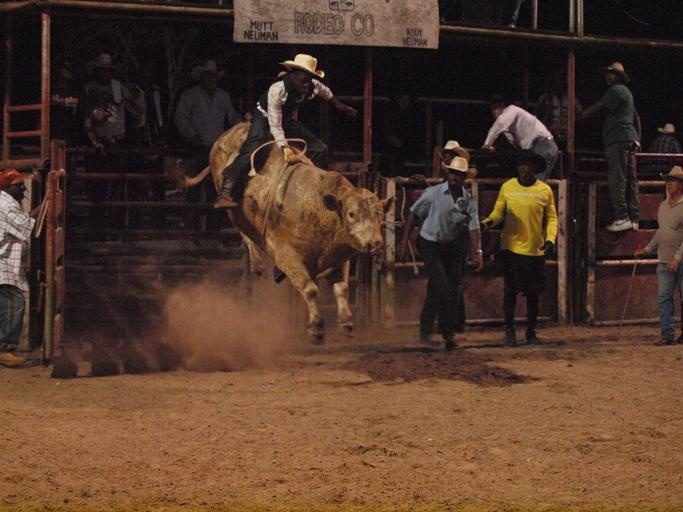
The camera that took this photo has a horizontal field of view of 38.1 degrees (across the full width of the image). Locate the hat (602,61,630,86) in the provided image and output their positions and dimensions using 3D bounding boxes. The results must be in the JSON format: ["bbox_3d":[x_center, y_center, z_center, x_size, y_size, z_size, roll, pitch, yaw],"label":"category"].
[{"bbox_3d":[4.401,-2.938,15.829,0.361,0.340,0.446,0,3,6],"label":"hat"}]

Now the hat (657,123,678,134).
[{"bbox_3d":[6.114,-2.377,18.572,0.325,0.157,0.388,0,12,-4],"label":"hat"}]

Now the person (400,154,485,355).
[{"bbox_3d":[1.407,-0.022,13.256,1.055,2.582,0.802,-2,3,-25],"label":"person"}]

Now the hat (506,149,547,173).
[{"bbox_3d":[2.571,-1.397,13.546,0.532,0.169,0.554,2,-22,10],"label":"hat"}]

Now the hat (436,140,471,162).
[{"bbox_3d":[1.706,-1.540,14.461,0.337,0.163,0.420,15,-10,35],"label":"hat"}]

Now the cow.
[{"bbox_3d":[-0.566,-0.408,13.185,1.034,2.901,3.206,-2,4,-32],"label":"cow"}]

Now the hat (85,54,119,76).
[{"bbox_3d":[-3.833,-3.118,16.008,0.673,0.322,0.788,-1,7,-23],"label":"hat"}]

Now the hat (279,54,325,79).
[{"bbox_3d":[-0.564,-2.548,13.014,0.535,0.229,0.509,25,3,14],"label":"hat"}]

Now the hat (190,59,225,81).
[{"bbox_3d":[-2.193,-3.071,16.308,0.474,0.337,0.686,-2,4,-27],"label":"hat"}]

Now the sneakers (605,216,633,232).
[{"bbox_3d":[4.403,-0.513,15.661,0.387,0.202,0.186,-5,10,11],"label":"sneakers"}]

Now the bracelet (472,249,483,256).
[{"bbox_3d":[1.862,-0.049,13.565,0.129,0.102,0.137,-1,3,30],"label":"bracelet"}]

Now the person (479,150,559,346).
[{"bbox_3d":[2.462,-0.076,13.404,0.873,2.621,0.522,0,3,12],"label":"person"}]

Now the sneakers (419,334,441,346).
[{"bbox_3d":[1.223,1.165,13.762,0.203,0.210,0.128,15,1,-21],"label":"sneakers"}]

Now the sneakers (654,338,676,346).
[{"bbox_3d":[4.536,1.191,13.875,0.300,0.151,0.114,1,6,1],"label":"sneakers"}]

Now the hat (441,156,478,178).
[{"bbox_3d":[1.617,-1.260,13.098,0.329,0.138,0.396,15,-12,23],"label":"hat"}]
